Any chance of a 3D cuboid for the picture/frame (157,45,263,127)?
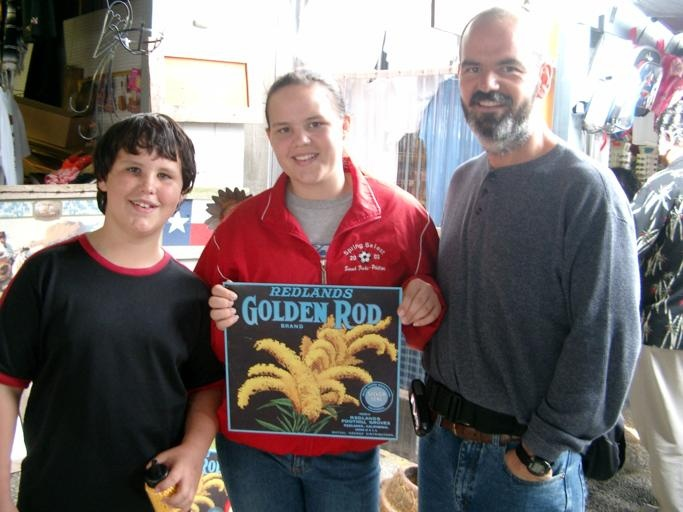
[{"bbox_3d":[-0.856,-1.085,3.512,0.826,0.574,0.060,-4,6,-38],"label":"picture/frame"}]
